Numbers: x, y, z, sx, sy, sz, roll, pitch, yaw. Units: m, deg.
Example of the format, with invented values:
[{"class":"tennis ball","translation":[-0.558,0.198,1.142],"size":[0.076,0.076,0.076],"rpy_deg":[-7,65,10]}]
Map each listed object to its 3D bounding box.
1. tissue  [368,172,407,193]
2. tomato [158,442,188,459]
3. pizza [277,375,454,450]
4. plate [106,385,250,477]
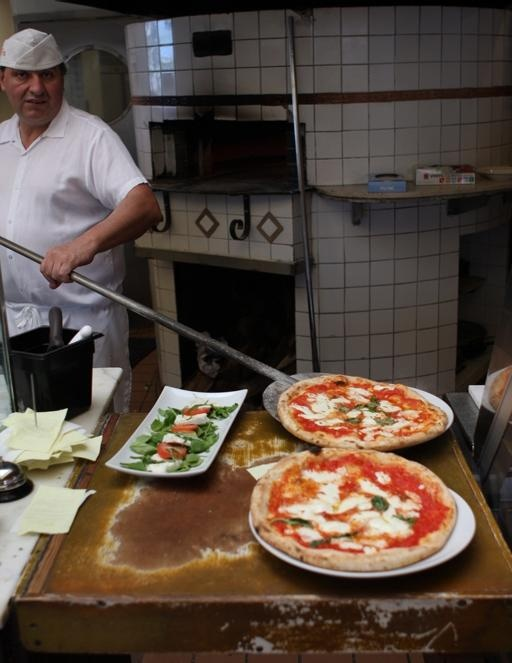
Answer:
[{"class":"tissue ","translation":[0.657,-0.738,2.908],"size":[0.175,0.084,0.296],"rpy_deg":[1,17,13]},{"class":"tomato","translation":[-0.167,0.240,1.165],"size":[0.055,0.023,0.047],"rpy_deg":[-5,16,-7]},{"class":"pizza","translation":[0.231,0.178,1.264],"size":[0.203,0.032,0.174],"rpy_deg":[8,18,24]},{"class":"plate","translation":[-0.163,0.222,1.223],"size":[0.146,0.034,0.325],"rpy_deg":[2,17,10]}]
